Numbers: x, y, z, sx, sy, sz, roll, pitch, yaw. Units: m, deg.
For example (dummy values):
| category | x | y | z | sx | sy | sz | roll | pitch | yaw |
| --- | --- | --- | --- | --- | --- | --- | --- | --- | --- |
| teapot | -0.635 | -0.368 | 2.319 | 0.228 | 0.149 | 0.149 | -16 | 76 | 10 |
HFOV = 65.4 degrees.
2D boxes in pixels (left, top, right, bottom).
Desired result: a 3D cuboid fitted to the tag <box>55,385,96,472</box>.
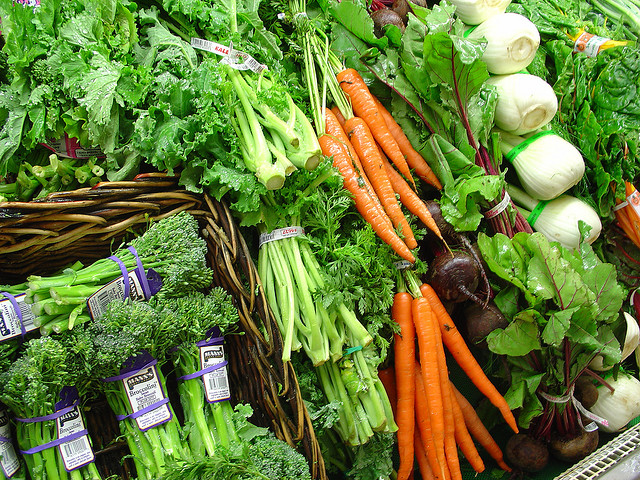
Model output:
| category | x | y | z | sx | sy | sz | roll | pitch | yaw |
| --- | --- | --- | --- | --- | --- | --- | --- | --- | --- |
| tag | -0.948 | 0.715 | 1.904 | 0.117 | 0.285 | 0.151 | -20 | 30 | -12 |

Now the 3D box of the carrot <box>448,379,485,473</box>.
| category | x | y | z | sx | sy | sz | roll | pitch | yaw |
| --- | --- | --- | --- | --- | --- | --- | --- | --- | --- |
| carrot | 0.790 | 1.026 | 2.699 | 0.065 | 0.568 | 0.088 | -19 | -8 | 1 |

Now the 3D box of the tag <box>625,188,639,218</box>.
| category | x | y | z | sx | sy | sz | roll | pitch | yaw |
| --- | --- | --- | --- | --- | --- | --- | --- | --- | --- |
| tag | 1.831 | -0.228 | 2.907 | 0.118 | 0.113 | 0.030 | -52 | 11 | -19 |

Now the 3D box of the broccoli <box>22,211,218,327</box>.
| category | x | y | z | sx | sy | sz | roll | pitch | yaw |
| --- | --- | --- | --- | --- | --- | --- | --- | --- | --- |
| broccoli | -0.807 | 0.123 | 2.058 | 0.651 | 0.389 | 0.369 | -24 | 30 | -29 |

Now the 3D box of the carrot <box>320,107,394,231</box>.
| category | x | y | z | sx | sy | sz | roll | pitch | yaw |
| --- | --- | --- | --- | --- | --- | --- | --- | --- | --- |
| carrot | 0.172 | -0.333 | 2.447 | 0.090 | 0.687 | 0.087 | -34 | -14 | 30 |

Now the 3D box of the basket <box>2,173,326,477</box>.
| category | x | y | z | sx | sy | sz | roll | pitch | yaw |
| --- | --- | --- | --- | --- | --- | --- | --- | --- | --- |
| basket | -0.617 | 0.410 | 2.491 | 1.030 | 1.546 | 0.521 | -27 | 9 | -16 |

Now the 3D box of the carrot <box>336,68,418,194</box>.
| category | x | y | z | sx | sy | sz | roll | pitch | yaw |
| --- | --- | --- | --- | --- | --- | --- | --- | --- | --- |
| carrot | 0.292 | -0.561 | 2.621 | 0.118 | 0.745 | 0.120 | -30 | 6 | -19 |

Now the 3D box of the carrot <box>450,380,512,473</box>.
| category | x | y | z | sx | sy | sz | roll | pitch | yaw |
| --- | --- | --- | --- | --- | --- | --- | --- | --- | --- |
| carrot | 0.885 | 1.044 | 2.733 | 0.076 | 0.582 | 0.074 | -27 | -7 | -29 |

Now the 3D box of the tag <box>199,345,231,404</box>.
| category | x | y | z | sx | sy | sz | roll | pitch | yaw |
| --- | --- | --- | --- | --- | --- | --- | --- | --- | --- |
| tag | -0.440 | 0.558 | 2.087 | 0.096 | 0.238 | 0.158 | -14 | 30 | -1 |

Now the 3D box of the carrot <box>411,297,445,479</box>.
| category | x | y | z | sx | sy | sz | roll | pitch | yaw |
| --- | --- | --- | --- | --- | --- | --- | --- | --- | --- |
| carrot | 0.548 | 0.647 | 2.494 | 0.093 | 1.043 | 0.103 | -7 | -7 | 21 |

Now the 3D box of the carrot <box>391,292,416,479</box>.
| category | x | y | z | sx | sy | sz | roll | pitch | yaw |
| --- | --- | --- | --- | --- | --- | --- | --- | --- | --- |
| carrot | 0.408 | 0.715 | 2.496 | 0.102 | 0.907 | 0.096 | 3 | -8 | -21 |

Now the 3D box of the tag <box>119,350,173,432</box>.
| category | x | y | z | sx | sy | sz | roll | pitch | yaw |
| --- | --- | --- | --- | --- | --- | --- | --- | --- | --- |
| tag | -0.691 | 0.600 | 1.977 | 0.139 | 0.283 | 0.108 | -22 | 30 | -15 |

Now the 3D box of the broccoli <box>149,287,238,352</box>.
| category | x | y | z | sx | sy | sz | roll | pitch | yaw |
| --- | --- | --- | --- | --- | --- | --- | --- | --- | --- |
| broccoli | -0.505 | 0.302 | 2.050 | 0.246 | 0.146 | 0.247 | -19 | 37 | -33 |

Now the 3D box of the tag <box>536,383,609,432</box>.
| category | x | y | z | sx | sy | sz | roll | pitch | yaw |
| --- | --- | --- | --- | --- | --- | --- | --- | --- | --- |
| tag | 1.355 | 0.913 | 2.715 | 0.118 | 0.368 | 0.108 | -49 | -2 | -4 |

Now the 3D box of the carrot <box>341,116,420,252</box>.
| category | x | y | z | sx | sy | sz | roll | pitch | yaw |
| --- | --- | --- | --- | --- | --- | --- | --- | --- | --- |
| carrot | 0.291 | -0.264 | 2.513 | 0.106 | 0.725 | 0.113 | -26 | -1 | 28 |

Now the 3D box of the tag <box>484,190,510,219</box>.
| category | x | y | z | sx | sy | sz | roll | pitch | yaw |
| --- | --- | --- | --- | --- | --- | --- | --- | --- | --- |
| tag | 0.956 | -0.172 | 2.680 | 0.146 | 0.138 | 0.061 | -15 | 29 | 0 |

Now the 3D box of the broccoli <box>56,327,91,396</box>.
| category | x | y | z | sx | sy | sz | roll | pitch | yaw |
| --- | --- | --- | --- | --- | --- | --- | --- | --- | --- |
| broccoli | -0.906 | 0.473 | 1.928 | 0.109 | 0.222 | 0.184 | -11 | -20 | 3 |

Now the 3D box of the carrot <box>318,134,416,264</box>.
| category | x | y | z | sx | sy | sz | roll | pitch | yaw |
| --- | --- | --- | --- | --- | --- | --- | --- | --- | --- |
| carrot | 0.214 | -0.180 | 2.414 | 0.110 | 0.692 | 0.111 | -30 | -8 | -29 |

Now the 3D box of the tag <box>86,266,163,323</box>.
| category | x | y | z | sx | sy | sz | roll | pitch | yaw |
| --- | --- | --- | --- | --- | --- | --- | --- | --- | --- |
| tag | -0.767 | 0.213 | 1.967 | 0.299 | 0.133 | 0.048 | -30 | 33 | -21 |

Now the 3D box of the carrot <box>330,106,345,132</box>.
| category | x | y | z | sx | sy | sz | roll | pitch | yaw |
| --- | --- | --- | --- | --- | --- | --- | --- | --- | --- |
| carrot | 0.103 | -0.644 | 2.670 | 0.038 | 0.144 | 0.040 | -27 | -3 | 5 |
